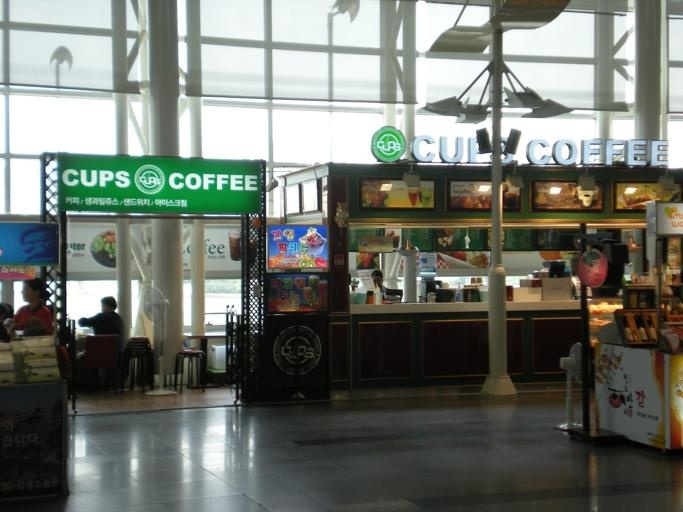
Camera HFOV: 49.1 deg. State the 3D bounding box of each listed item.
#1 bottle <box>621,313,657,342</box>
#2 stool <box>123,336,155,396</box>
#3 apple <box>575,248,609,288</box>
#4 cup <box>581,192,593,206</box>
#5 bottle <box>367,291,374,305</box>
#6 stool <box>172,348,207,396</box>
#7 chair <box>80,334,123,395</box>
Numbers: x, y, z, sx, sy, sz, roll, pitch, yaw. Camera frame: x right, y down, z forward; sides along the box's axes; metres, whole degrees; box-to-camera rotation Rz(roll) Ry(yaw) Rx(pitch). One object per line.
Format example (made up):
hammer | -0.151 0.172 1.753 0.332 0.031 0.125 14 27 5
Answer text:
bottle | 3.307 0.819 8.355 0.279 0.274 0.101 2 -14 -6
stool | -3.348 1.814 12.418 0.503 0.838 0.844 -1 2 -15
apple | 2.820 0.139 8.388 0.158 0.440 0.420 -1 2 -25
cup | 4.021 -0.938 12.253 0.182 0.213 0.214 1 0 0
bottle | 0.451 0.662 11.667 0.144 0.290 0.150 -1 -4 0
stool | -2.510 1.914 12.656 0.626 1.046 0.744 0 2 -20
chair | -3.789 1.713 11.896 0.750 1.144 0.794 0 2 -11
